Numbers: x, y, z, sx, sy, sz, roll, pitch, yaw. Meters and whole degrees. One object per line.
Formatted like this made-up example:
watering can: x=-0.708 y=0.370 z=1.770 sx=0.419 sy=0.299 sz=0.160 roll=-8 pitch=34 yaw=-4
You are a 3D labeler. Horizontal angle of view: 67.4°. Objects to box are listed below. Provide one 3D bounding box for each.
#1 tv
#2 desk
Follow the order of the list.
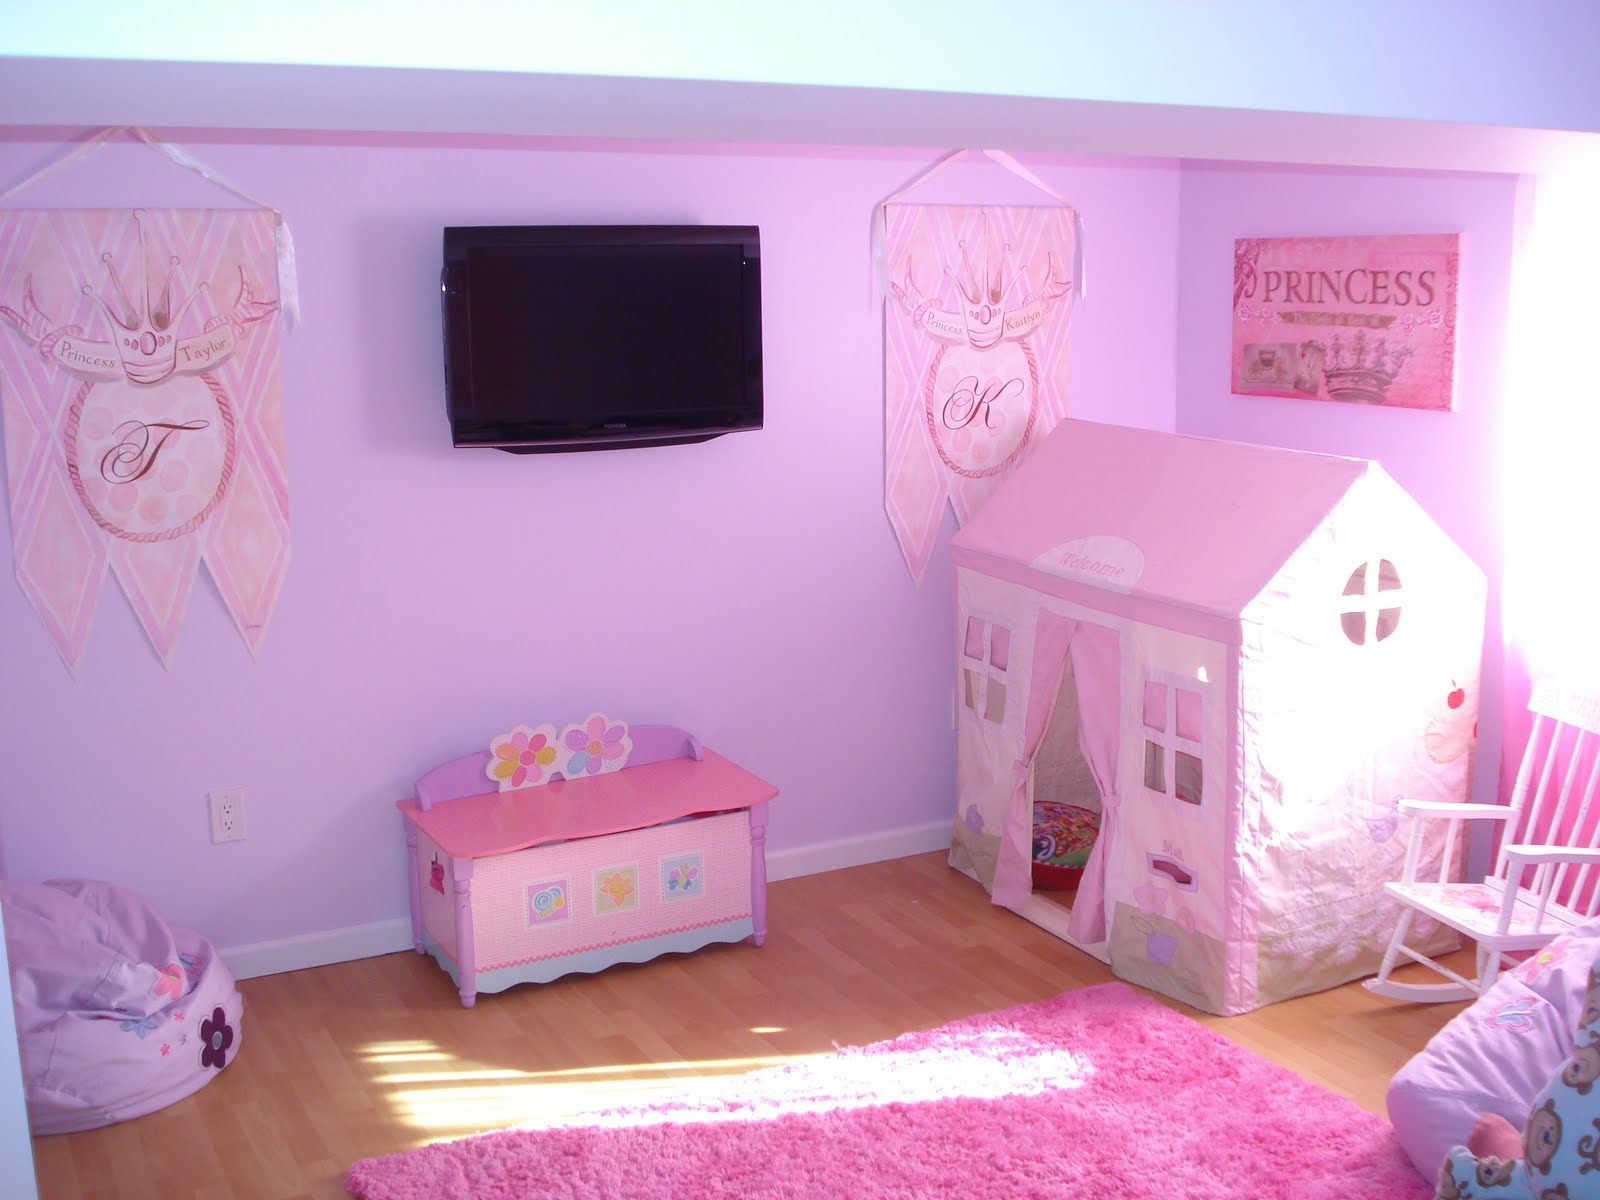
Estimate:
tv: x=-0.707 y=-0.891 z=4.015 sx=0.727 sy=0.565 sz=0.099 roll=-5 pitch=10 yaw=-26
desk: x=-0.734 y=0.892 z=4.191 sx=1.100 sy=0.714 sz=0.551 roll=-5 pitch=12 yaw=-34
